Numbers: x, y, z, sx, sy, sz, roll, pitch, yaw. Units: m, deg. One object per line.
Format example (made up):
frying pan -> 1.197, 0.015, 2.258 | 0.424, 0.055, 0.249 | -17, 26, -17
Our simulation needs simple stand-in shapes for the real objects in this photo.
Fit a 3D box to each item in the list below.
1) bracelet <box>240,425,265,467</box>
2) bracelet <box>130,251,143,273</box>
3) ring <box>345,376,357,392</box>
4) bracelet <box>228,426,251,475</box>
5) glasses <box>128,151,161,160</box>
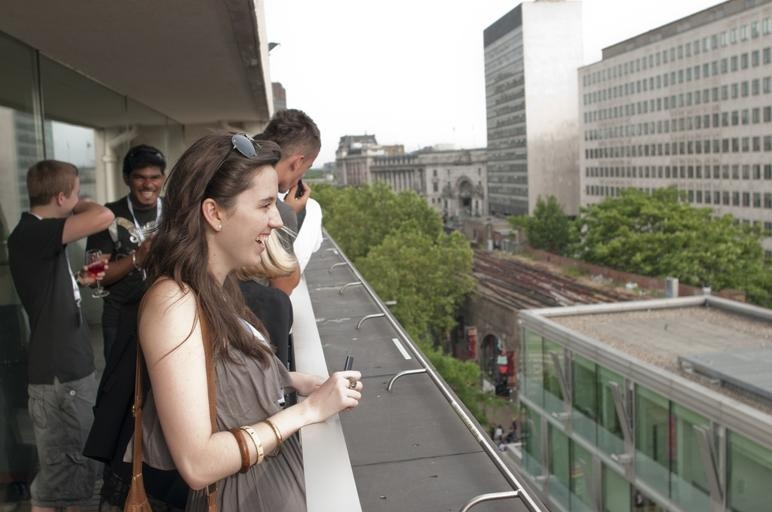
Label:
bracelet -> -0.396, 0.552, 1.677 | 0.023, 0.091, 0.081 | -14, 43, -19
bracelet -> -1.402, 0.037, 3.203 | 0.024, 0.102, 0.104 | -18, 14, -19
ring -> -0.124, 0.432, 1.933 | 0.032, 0.046, 0.047 | -1, 15, -26
bracelet -> -0.428, 0.576, 1.710 | 0.026, 0.115, 0.113 | -15, 58, -15
glasses -> -1.440, -0.594, 3.413 | 0.112, 0.054, 0.096 | 9, 12, 11
